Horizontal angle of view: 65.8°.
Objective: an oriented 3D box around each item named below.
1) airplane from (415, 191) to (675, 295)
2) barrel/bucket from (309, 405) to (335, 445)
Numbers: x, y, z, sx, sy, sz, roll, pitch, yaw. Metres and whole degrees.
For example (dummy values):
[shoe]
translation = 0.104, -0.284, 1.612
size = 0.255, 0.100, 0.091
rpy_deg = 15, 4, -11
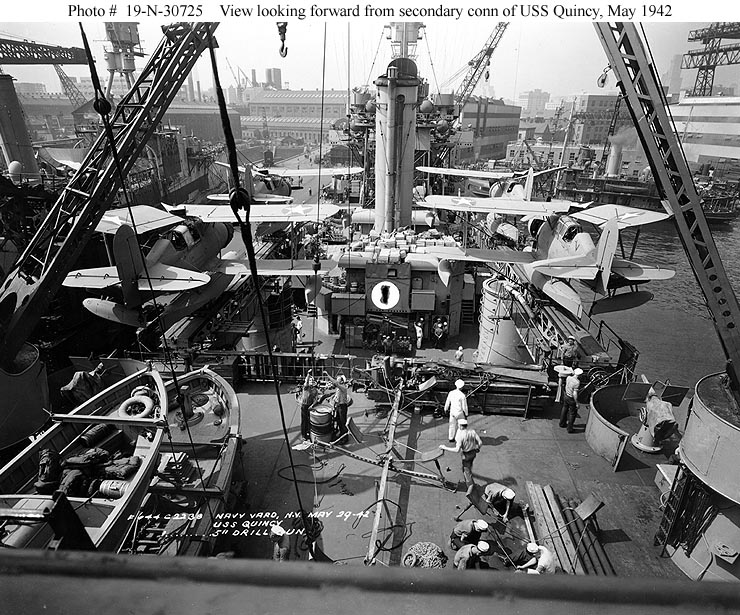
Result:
[airplane]
translation = 6.904, -2.651, 23.864
size = 7.437, 3.091, 6.551
rpy_deg = 1, 23, -8
[barrel/bucket]
translation = -1.178, 2.815, 13.858
size = 0.670, 0.874, 0.615
rpy_deg = -1, 18, 0
